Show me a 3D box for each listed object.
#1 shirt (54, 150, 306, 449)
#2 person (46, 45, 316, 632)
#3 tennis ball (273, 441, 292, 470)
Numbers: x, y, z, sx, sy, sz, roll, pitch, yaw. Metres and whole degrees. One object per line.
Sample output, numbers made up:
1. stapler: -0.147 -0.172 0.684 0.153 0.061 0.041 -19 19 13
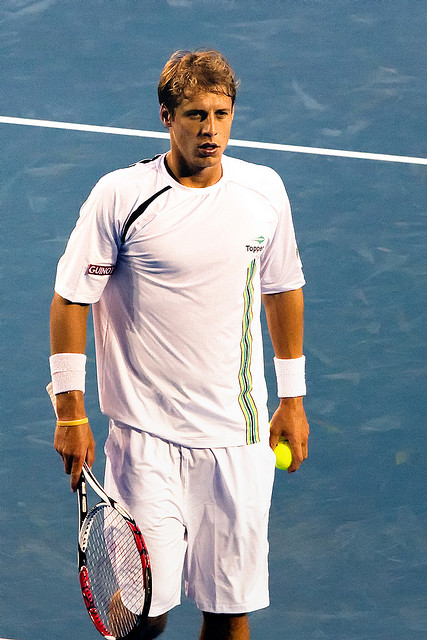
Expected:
1. shirt: -0.096 -0.040 2.995 0.713 0.865 0.334 -10 23 -11
2. person: -0.074 0.128 3.035 0.893 1.807 0.471 -13 23 -18
3. tennis ball: 0.231 0.448 3.245 0.075 0.086 0.076 3 9 0
